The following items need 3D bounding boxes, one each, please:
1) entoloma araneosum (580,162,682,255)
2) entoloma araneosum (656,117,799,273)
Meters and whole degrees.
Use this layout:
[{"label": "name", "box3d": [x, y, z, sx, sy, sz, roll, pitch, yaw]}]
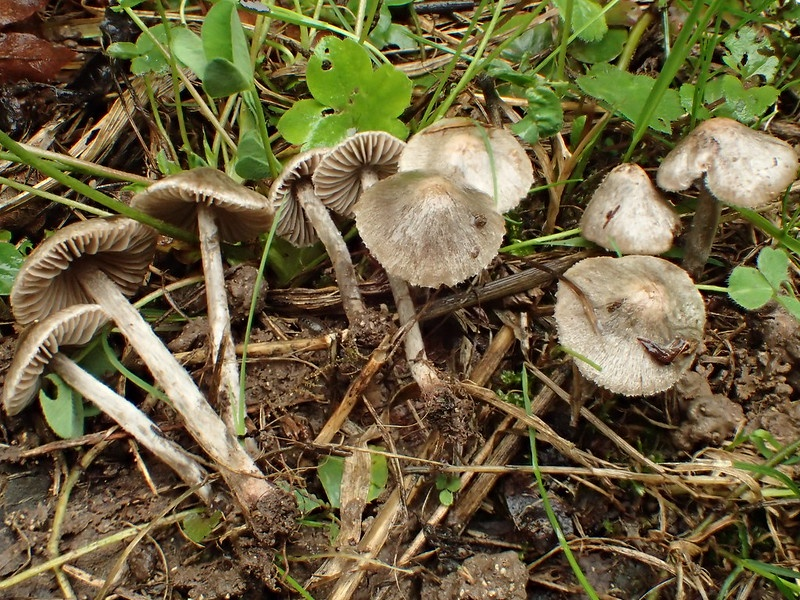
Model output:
[{"label": "entoloma araneosum", "box3d": [1.267, -0.476, 3.872, 0.538, 0.348, 0.535, 29, 50, 34]}, {"label": "entoloma araneosum", "box3d": [1.804, -0.560, 3.734, 0.588, 0.711, 0.524, -42, 61, -11]}]
